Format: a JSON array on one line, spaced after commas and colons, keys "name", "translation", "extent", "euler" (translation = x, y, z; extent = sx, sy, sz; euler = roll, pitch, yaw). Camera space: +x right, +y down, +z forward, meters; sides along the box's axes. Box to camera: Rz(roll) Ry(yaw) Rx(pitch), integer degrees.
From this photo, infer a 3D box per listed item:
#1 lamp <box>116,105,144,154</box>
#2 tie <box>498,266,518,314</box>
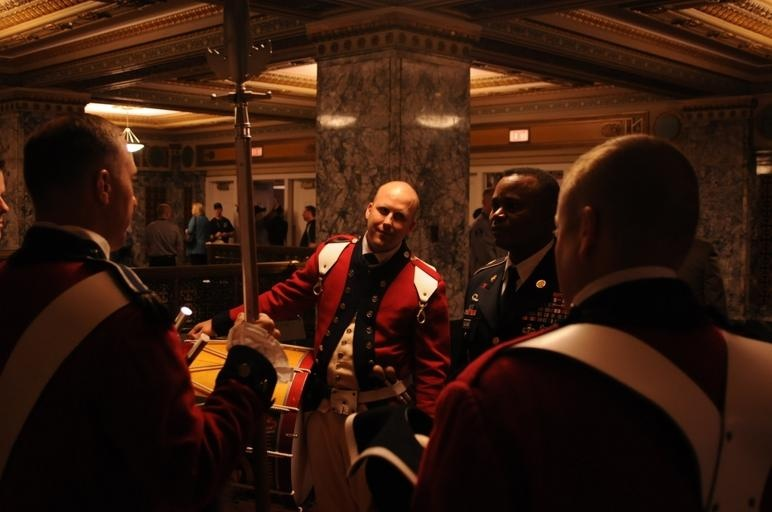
[{"name": "lamp", "translation": [-4.359, -2.129, 10.882], "extent": [0.421, 0.673, 0.394], "euler": [-5, 5, -37]}, {"name": "tie", "translation": [0.490, 0.132, 2.550], "extent": [0.049, 0.216, 0.053], "euler": [2, -23, 25]}]
